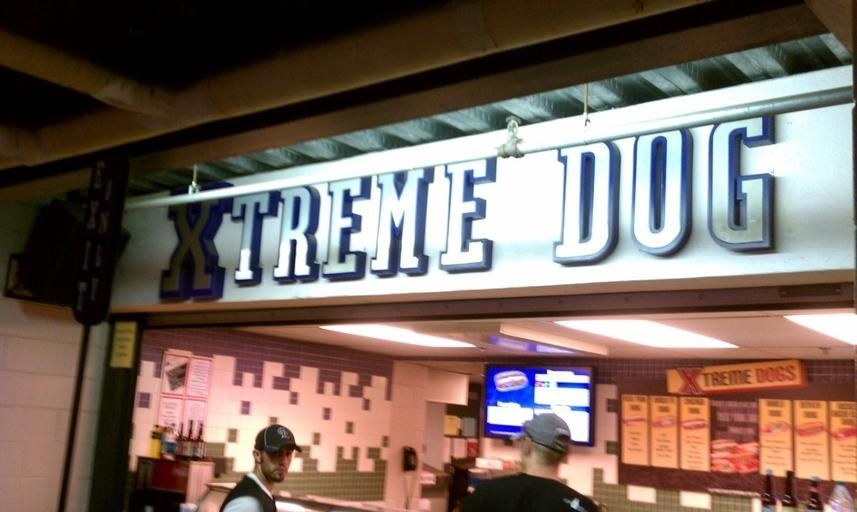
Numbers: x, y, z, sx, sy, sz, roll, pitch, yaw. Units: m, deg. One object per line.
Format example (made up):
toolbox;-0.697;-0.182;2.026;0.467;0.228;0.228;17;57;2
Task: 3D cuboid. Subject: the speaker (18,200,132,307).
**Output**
speaker;-3.565;-0.027;7.128;1.065;0.925;0.594;10;-6;37

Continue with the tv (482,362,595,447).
tv;1.394;1.772;8.680;1.707;0.939;0.212;-3;-16;32

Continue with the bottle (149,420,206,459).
bottle;-2.978;2.174;8.598;0.638;0.417;0.270;9;-17;-27

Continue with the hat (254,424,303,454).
hat;-1.113;1.318;5.156;0.270;0.141;0.193;-16;-19;29

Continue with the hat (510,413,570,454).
hat;0.759;1.140;4.765;0.335;0.169;0.242;12;-10;41
